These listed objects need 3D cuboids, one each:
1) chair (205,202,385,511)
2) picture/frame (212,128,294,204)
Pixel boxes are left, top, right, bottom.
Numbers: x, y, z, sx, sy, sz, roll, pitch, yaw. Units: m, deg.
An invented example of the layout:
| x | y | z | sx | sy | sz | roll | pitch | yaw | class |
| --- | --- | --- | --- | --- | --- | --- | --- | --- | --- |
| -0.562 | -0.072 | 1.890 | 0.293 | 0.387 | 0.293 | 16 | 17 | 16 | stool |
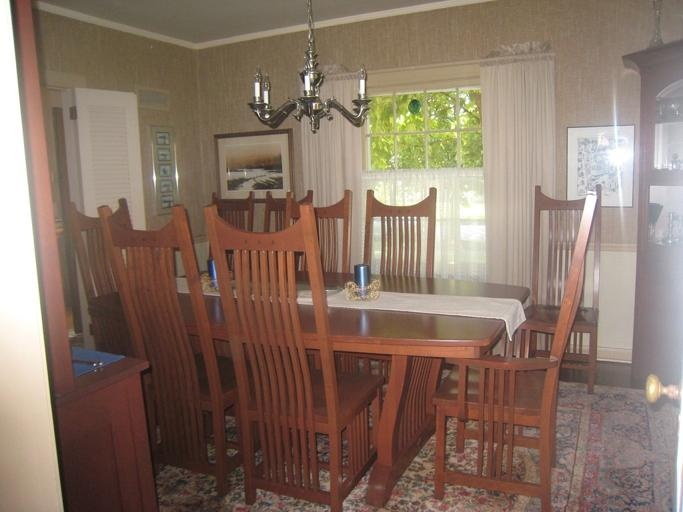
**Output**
| x | y | z | sx | sy | sz | roll | pitch | yaw | class |
| --- | --- | --- | --- | --- | --- | --- | --- | --- | --- |
| -0.212 | 0.471 | 2.740 | 0.634 | 1.475 | 0.650 | 4 | 11 | 35 | chair |
| -0.827 | -0.897 | 5.483 | 0.882 | 0.742 | 0.037 | 1 | 8 | 21 | picture/frame |
